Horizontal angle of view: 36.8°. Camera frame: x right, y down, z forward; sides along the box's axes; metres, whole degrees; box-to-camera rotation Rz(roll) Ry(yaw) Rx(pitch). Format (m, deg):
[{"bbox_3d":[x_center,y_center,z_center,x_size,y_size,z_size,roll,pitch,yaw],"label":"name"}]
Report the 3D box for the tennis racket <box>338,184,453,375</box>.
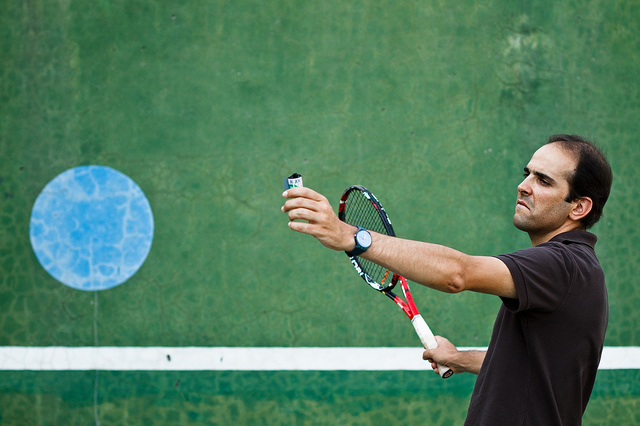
[{"bbox_3d":[0.521,0.407,7.925,0.122,2.130,0.517,13,-52,-42],"label":"tennis racket"}]
